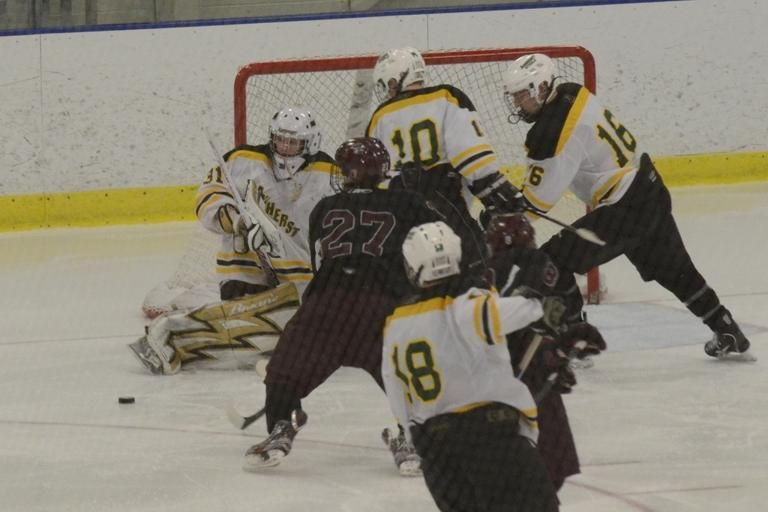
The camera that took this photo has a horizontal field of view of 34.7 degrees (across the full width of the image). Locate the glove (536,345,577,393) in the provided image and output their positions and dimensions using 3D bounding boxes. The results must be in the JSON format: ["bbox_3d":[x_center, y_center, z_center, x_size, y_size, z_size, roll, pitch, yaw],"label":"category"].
[{"bbox_3d":[1.029,0.684,7.351,0.227,0.248,0.130,8,-7,-21],"label":"glove"}]

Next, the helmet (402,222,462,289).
[{"bbox_3d":[0.280,-0.001,7.208,0.366,0.349,0.371,-12,47,-3],"label":"helmet"}]

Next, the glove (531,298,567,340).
[{"bbox_3d":[0.942,0.355,7.048,0.165,0.253,0.151,30,3,25],"label":"glove"}]
